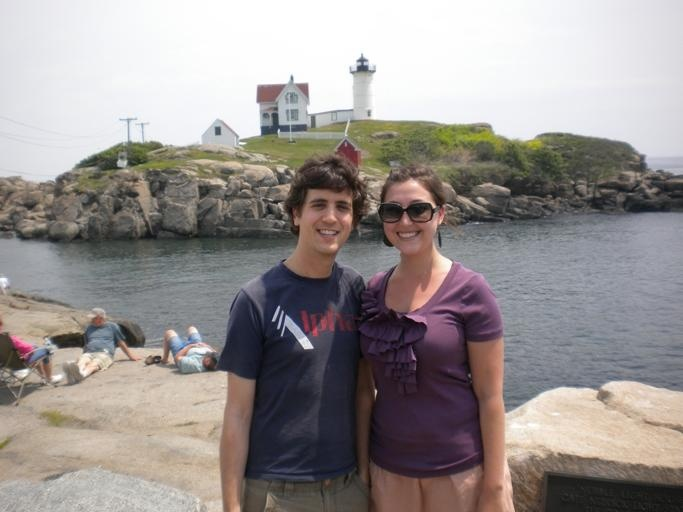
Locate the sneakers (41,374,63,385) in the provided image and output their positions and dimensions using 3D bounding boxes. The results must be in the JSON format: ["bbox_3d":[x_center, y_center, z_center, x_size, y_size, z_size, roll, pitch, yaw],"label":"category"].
[{"bbox_3d":[-6.218,2.702,15.747,0.130,0.159,0.377,46,27,18],"label":"sneakers"}]

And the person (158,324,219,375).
[{"bbox_3d":[-3.699,2.296,17.600,0.789,0.726,1.546,-4,27,-37],"label":"person"}]

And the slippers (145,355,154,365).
[{"bbox_3d":[-4.504,2.427,17.015,0.176,0.169,0.271,-3,7,-15],"label":"slippers"}]

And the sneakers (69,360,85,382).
[{"bbox_3d":[-5.681,2.496,15.580,0.189,0.518,0.225,-1,27,-12],"label":"sneakers"}]

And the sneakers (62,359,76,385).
[{"bbox_3d":[-5.777,2.484,15.498,0.241,0.514,0.246,3,12,-5],"label":"sneakers"}]
